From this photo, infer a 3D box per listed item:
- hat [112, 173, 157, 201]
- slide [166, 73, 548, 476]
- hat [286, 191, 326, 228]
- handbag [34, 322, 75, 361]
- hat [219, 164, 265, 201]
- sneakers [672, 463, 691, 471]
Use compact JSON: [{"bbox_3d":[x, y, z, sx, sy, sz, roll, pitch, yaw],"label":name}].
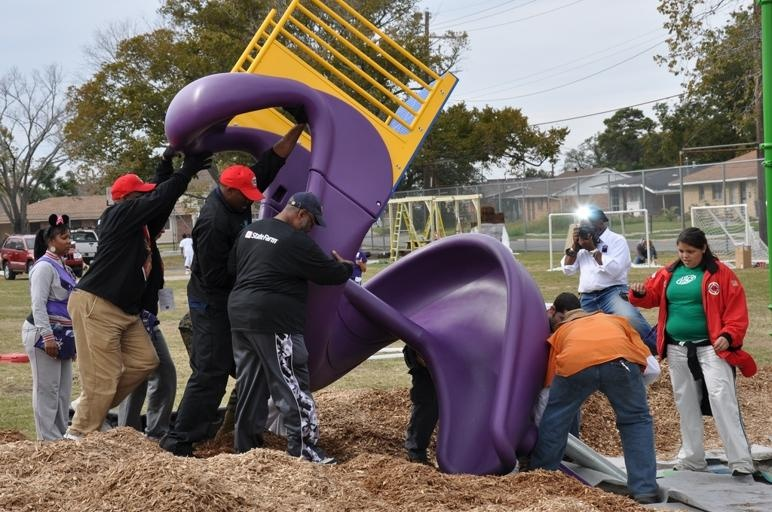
[{"bbox_3d":[-2.711,-0.744,9.015,0.454,0.244,0.301,-8,14,-10],"label":"hat"},{"bbox_3d":[-0.172,0.259,9.669,3.905,4.475,2.501,6,3,-10],"label":"slide"},{"bbox_3d":[-0.775,-0.468,8.385,0.373,0.232,0.260,33,2,-16],"label":"hat"},{"bbox_3d":[-3.587,0.930,9.243,0.145,0.440,0.373,6,0,43],"label":"handbag"},{"bbox_3d":[-1.470,-0.750,8.645,0.436,0.220,0.285,34,25,-2],"label":"hat"},{"bbox_3d":[3.181,2.242,8.982,0.186,0.090,0.067,2,-3,20],"label":"sneakers"}]
